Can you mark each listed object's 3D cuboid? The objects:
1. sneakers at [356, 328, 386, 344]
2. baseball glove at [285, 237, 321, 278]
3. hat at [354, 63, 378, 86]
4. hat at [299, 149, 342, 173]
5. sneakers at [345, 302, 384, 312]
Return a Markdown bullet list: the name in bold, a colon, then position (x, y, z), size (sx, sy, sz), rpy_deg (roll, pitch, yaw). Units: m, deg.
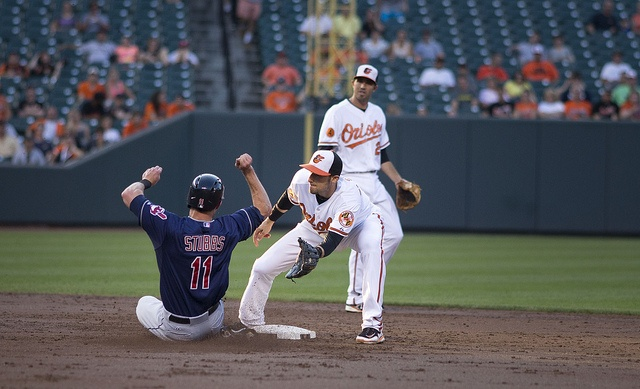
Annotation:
- **sneakers**: position (0.913, 2.461, 18.770), size (0.492, 0.205, 0.213), rpy_deg (2, -25, 0)
- **baseball glove**: position (-0.247, 1.083, 18.549), size (0.581, 0.721, 0.391), rpy_deg (3, 9, -1)
- **hat**: position (0.870, -2.223, 19.928), size (0.416, 0.330, 0.344), rpy_deg (4, 9, 1)
- **hat**: position (0.071, -0.558, 18.804), size (0.574, 0.299, 0.404), rpy_deg (6, 7, -11)
- **sneakers**: position (0.844, 2.076, 20.177), size (0.673, 0.272, 0.236), rpy_deg (-1, 2, 2)
